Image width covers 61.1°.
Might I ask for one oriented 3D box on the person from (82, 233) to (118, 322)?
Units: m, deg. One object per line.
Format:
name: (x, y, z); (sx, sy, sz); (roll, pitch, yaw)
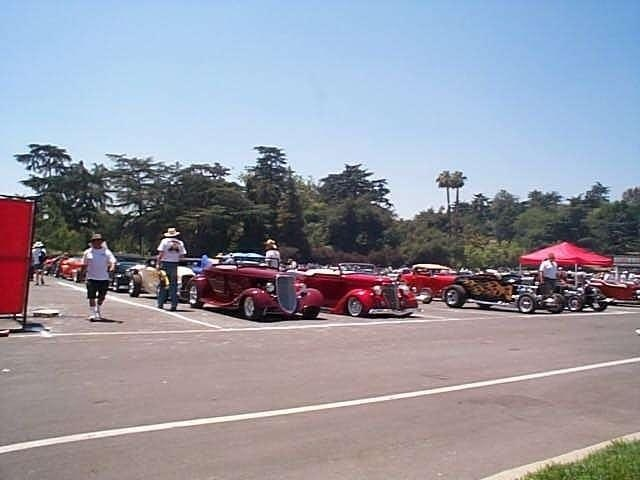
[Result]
person: (-5.974, 0.989, 14.527); (0.789, 1.870, 1.170); (5, -3, -23)

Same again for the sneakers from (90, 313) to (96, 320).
sneakers: (-5.975, 2.016, 14.283); (0.169, 0.154, 0.353); (5, -3, -22)

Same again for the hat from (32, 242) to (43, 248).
hat: (-13.778, 0.234, 26.391); (0.328, 0.085, 0.324); (0, 10, 8)
